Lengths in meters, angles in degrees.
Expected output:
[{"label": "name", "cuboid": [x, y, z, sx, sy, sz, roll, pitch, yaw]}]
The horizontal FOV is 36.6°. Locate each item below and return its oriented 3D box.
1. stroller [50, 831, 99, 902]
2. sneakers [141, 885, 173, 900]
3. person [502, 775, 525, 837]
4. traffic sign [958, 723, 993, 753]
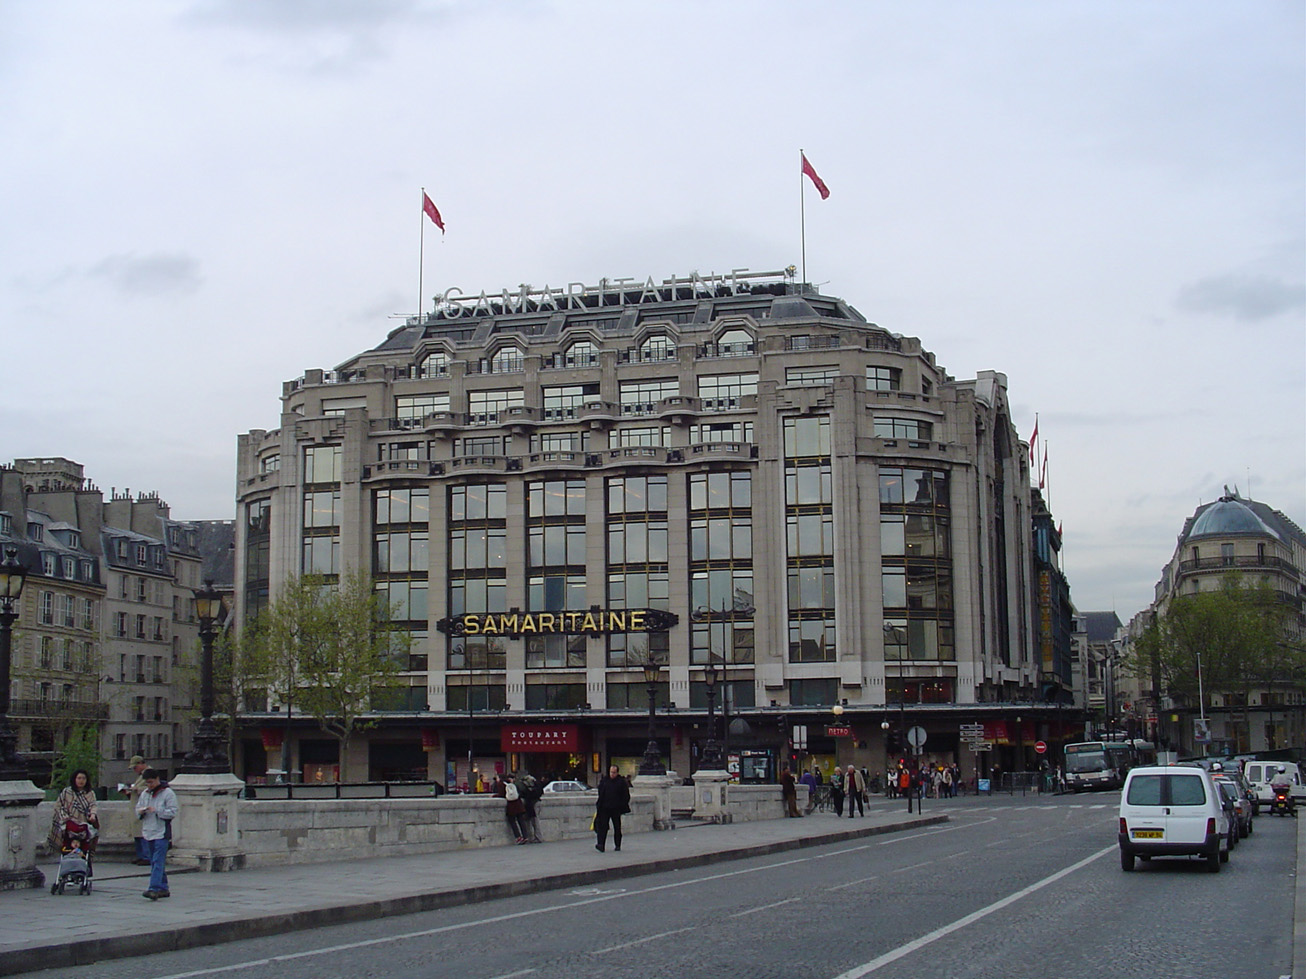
[{"label": "stroller", "cuboid": [-12.075, 7.781, 40.966, 0.806, 1.279, 1.134, 1, -12, -19]}, {"label": "sneakers", "cuboid": [-10.101, 8.186, 40.094, 0.582, 0.292, 0.186, 9, -16, -21]}, {"label": "person", "cuboid": [-3.832, 8.814, 54.187, 0.512, 1.621, 0.745, -2, -11, -4]}, {"label": "traffic sign", "cuboid": [15.030, 11.659, 92.501, 1.633, 0.918, 2.357, -1, -9, -2]}]
